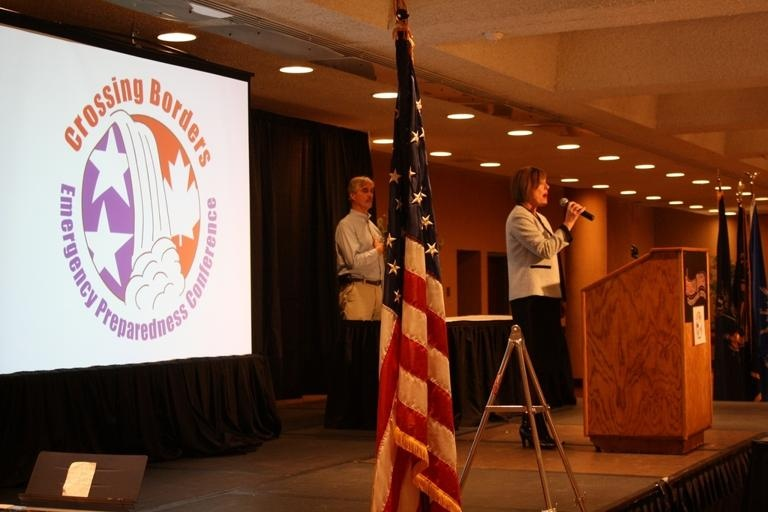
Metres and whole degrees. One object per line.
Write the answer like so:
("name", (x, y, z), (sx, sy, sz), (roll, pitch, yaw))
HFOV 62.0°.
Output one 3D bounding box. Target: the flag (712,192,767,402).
("flag", (4.982, 0.563, 8.907), (0.668, 2.918, 0.649), (2, 4, 26))
